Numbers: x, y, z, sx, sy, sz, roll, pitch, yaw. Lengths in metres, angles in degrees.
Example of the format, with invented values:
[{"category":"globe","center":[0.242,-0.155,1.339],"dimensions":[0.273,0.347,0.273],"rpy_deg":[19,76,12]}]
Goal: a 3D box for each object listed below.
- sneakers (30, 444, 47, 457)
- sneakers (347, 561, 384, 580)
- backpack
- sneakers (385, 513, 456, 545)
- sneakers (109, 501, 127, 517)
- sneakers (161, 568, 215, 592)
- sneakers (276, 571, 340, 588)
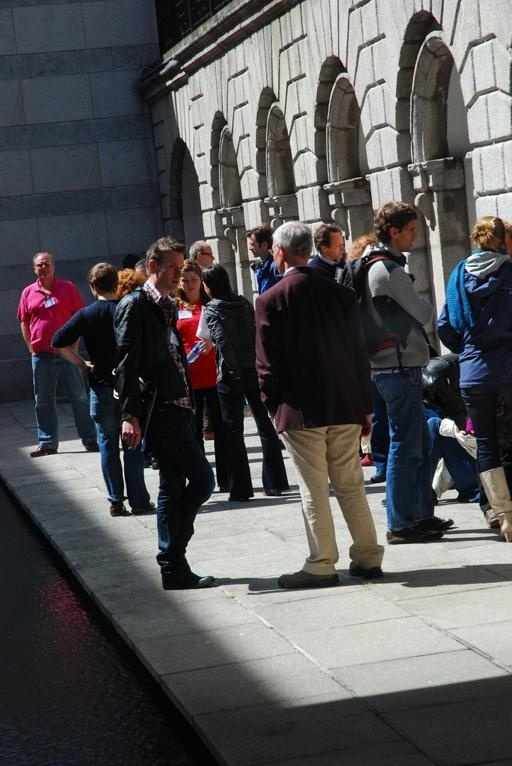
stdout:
[{"category":"sneakers","center":[-2.766,0.854,9.536],"dimensions":[0.294,0.115,0.125],"rpy_deg":[2,1,4]},{"category":"sneakers","center":[0.563,0.951,3.891],"dimensions":[0.067,0.070,0.174],"rpy_deg":[-1,6,-24]},{"category":"backpack","center":[0.730,-0.467,4.565],"dimensions":[0.475,0.624,0.466],"rpy_deg":[3,13,41]},{"category":"sneakers","center":[1.030,0.904,4.625],"dimensions":[0.449,0.170,0.143],"rpy_deg":[-10,8,-7]},{"category":"sneakers","center":[-1.100,1.006,6.084],"dimensions":[0.073,0.074,0.188],"rpy_deg":[1,0,7]},{"category":"sneakers","center":[-0.361,1.027,4.003],"dimensions":[0.304,0.113,0.098],"rpy_deg":[-2,-3,-6]},{"category":"sneakers","center":[0.258,0.980,3.832],"dimensions":[0.294,0.103,0.103],"rpy_deg":[1,-6,5]}]
